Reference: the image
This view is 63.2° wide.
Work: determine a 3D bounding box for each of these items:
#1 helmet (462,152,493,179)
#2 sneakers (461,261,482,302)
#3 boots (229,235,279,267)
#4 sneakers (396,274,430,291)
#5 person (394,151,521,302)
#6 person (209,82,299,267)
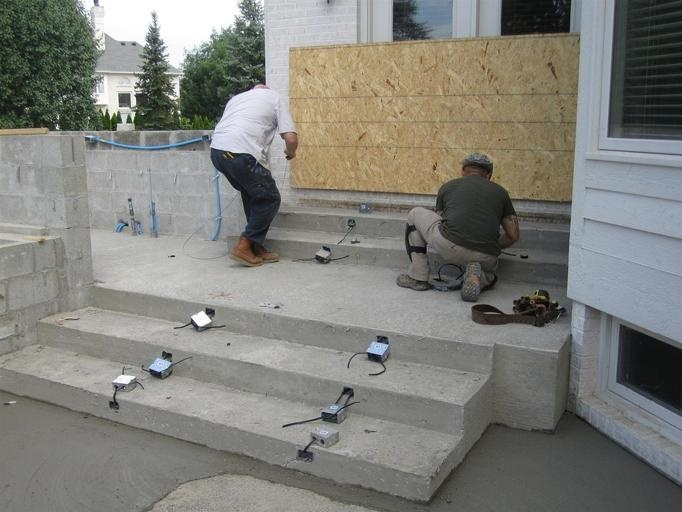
[{"bbox_3d":[1.314,-0.888,5.391,0.211,0.264,0.279,10,11,11],"label":"helmet"},{"bbox_3d":[1.168,0.228,5.002,0.161,0.320,0.253,3,17,13],"label":"sneakers"},{"bbox_3d":[-1.025,-0.064,6.260,0.219,0.316,0.629,20,18,41],"label":"boots"},{"bbox_3d":[0.680,0.261,5.391,0.318,0.160,0.134,22,26,30],"label":"sneakers"},{"bbox_3d":[1.158,-0.315,5.264,0.949,1.253,0.847,15,23,43],"label":"person"},{"bbox_3d":[-0.958,-0.906,6.240,0.930,1.942,0.781,-4,17,-12],"label":"person"}]
